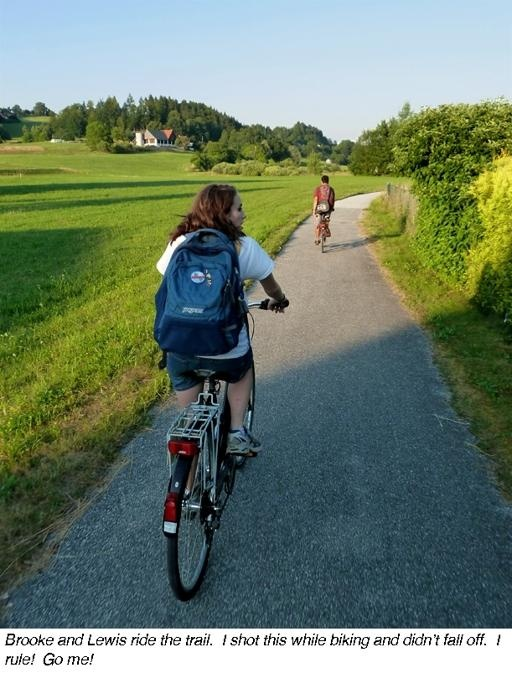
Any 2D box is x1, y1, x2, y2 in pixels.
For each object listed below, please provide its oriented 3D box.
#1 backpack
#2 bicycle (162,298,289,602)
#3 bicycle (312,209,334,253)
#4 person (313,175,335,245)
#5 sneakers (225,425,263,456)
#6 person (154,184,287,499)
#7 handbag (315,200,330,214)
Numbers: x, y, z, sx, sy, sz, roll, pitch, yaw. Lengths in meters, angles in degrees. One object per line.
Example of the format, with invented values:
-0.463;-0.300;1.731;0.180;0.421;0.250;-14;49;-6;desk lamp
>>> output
-0.262;-0.261;2.363;0.368;0.639;0.582;1;20;-5;backpack
0.056;0.534;2.588;0.537;0.933;1.523;-4;35;14;bicycle
1.860;-3.240;13.184;0.539;0.813;1.383;0;42;5;bicycle
1.824;-3.457;12.803;0.522;1.857;1.023;2;13;6;person
-0.079;0.659;2.978;0.103;0.170;0.303;4;7;21;sneakers
-0.199;-0.086;2.731;0.754;1.597;0.660;-4;6;-40;person
1.795;-3.521;12.630;0.405;0.324;0.263;-11;18;-36;handbag
